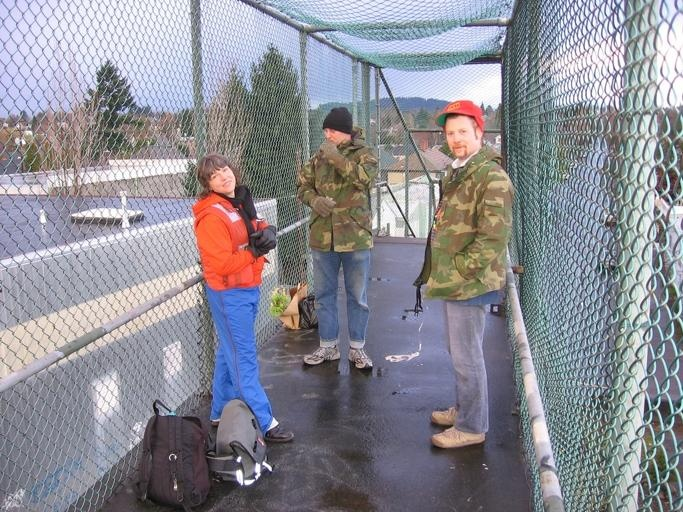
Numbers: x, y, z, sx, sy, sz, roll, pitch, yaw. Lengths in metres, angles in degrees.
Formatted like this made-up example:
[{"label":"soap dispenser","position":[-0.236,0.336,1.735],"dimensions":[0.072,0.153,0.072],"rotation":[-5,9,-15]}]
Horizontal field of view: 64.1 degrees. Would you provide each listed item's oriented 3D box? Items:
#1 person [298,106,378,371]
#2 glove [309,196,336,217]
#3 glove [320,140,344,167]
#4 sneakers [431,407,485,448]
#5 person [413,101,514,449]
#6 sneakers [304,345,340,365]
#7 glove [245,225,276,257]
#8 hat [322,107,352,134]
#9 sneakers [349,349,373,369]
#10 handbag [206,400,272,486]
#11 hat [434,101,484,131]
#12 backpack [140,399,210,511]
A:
[{"label":"person","position":[-0.028,-0.146,5.211],"dimensions":[0.737,2.458,0.608],"rotation":[-2,12,-5]},{"label":"glove","position":[-0.163,-0.460,5.008],"dimensions":[0.222,0.172,0.121],"rotation":[-2,13,-3]},{"label":"glove","position":[-0.069,-0.918,4.885],"dimensions":[0.223,0.172,0.084],"rotation":[43,27,12]},{"label":"sneakers","position":[0.849,1.326,4.104],"dimensions":[0.243,0.126,0.348],"rotation":[3,1,4]},{"label":"person","position":[0.874,0.165,3.913],"dimensions":[0.616,2.485,0.561],"rotation":[2,12,14]},{"label":"sneakers","position":[-0.190,0.984,5.520],"dimensions":[0.385,0.220,0.158],"rotation":[-2,5,-24]},{"label":"glove","position":[-0.581,-0.109,4.041],"dimensions":[0.193,0.215,0.247],"rotation":[-3,13,-8]},{"label":"hat","position":[-0.029,-1.210,4.867],"dimensions":[0.214,0.208,0.218],"rotation":[1,14,5]},{"label":"sneakers","position":[0.177,0.995,5.367],"dimensions":[0.122,0.124,0.263],"rotation":[-2,-1,-24]},{"label":"handbag","position":[-0.687,1.262,3.753],"dimensions":[0.461,0.402,0.238],"rotation":[14,-3,21]},{"label":"hat","position":[0.812,-0.981,3.730],"dimensions":[0.266,0.154,0.215],"rotation":[19,4,11]},{"label":"backpack","position":[-1.079,1.319,3.562],"dimensions":[0.555,0.778,0.382],"rotation":[-2,-5,18]}]
